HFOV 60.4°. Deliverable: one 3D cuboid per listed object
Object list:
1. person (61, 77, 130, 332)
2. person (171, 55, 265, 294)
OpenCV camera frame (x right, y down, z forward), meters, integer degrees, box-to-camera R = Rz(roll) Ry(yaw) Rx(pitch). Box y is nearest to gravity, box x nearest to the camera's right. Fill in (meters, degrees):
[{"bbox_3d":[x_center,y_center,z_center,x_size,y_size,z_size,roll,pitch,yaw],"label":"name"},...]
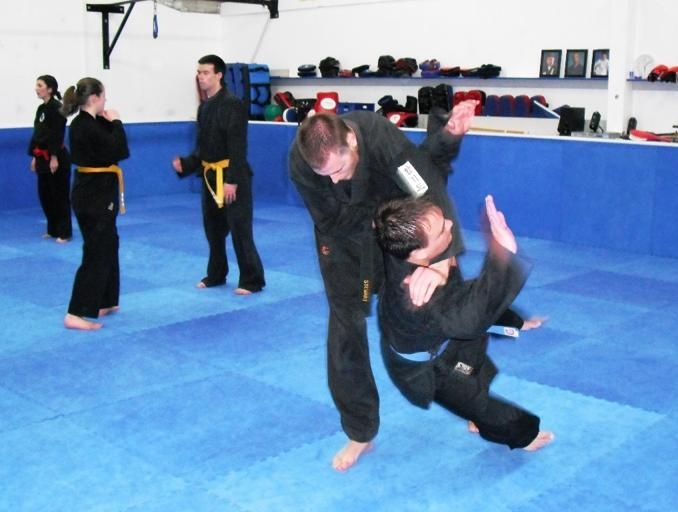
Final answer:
[{"bbox_3d":[-2.015,-0.412,4.816,0.551,2.025,0.615,0,18,-7],"label":"person"},{"bbox_3d":[-1.110,-0.744,5.589,0.838,2.237,0.581,16,22,36],"label":"person"}]
